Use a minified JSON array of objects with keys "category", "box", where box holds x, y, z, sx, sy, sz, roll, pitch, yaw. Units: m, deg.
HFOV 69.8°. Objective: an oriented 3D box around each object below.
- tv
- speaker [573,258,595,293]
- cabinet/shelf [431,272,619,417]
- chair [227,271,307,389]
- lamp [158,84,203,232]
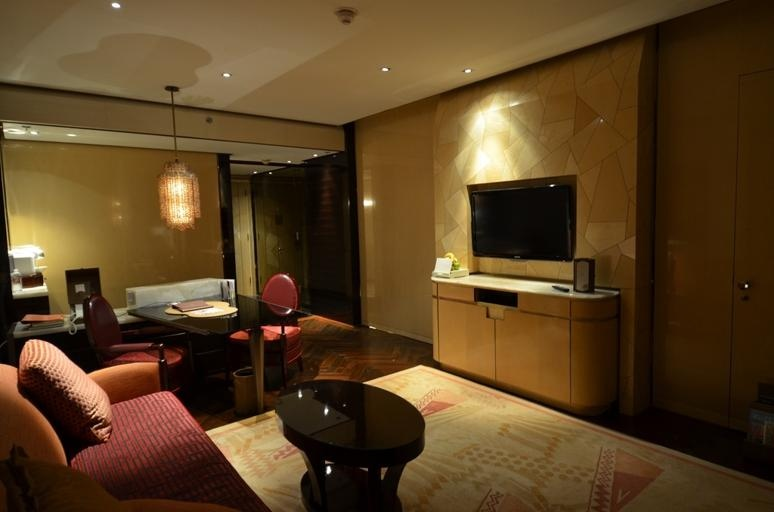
[{"category":"tv","box":[1.421,-0.360,5.969,1.168,0.861,0.137,2,10,26]},{"category":"speaker","box":[1.901,0.195,5.376,0.202,0.352,0.192,-1,2,17]},{"category":"cabinet/shelf","box":[1.363,0.841,6.007,2.136,1.149,0.723,6,11,43]},{"category":"chair","box":[-1.389,0.789,6.294,0.826,1.102,0.812,-2,2,-13]},{"category":"lamp","box":[-2.364,-1.058,6.232,0.376,1.511,0.953,-4,4,-19]}]
